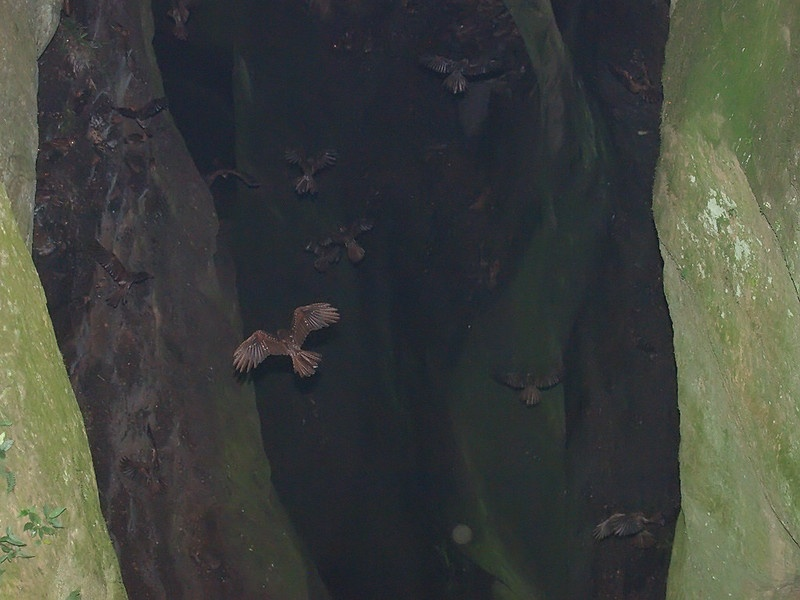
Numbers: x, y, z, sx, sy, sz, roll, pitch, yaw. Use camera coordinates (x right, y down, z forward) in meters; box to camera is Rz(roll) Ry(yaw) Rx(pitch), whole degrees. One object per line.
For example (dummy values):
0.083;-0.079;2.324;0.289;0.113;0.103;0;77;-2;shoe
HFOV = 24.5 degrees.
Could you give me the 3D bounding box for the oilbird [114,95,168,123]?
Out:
-3.484;-2.560;25.120;0.811;0.312;0.248;-16;-21;-1;oilbird
